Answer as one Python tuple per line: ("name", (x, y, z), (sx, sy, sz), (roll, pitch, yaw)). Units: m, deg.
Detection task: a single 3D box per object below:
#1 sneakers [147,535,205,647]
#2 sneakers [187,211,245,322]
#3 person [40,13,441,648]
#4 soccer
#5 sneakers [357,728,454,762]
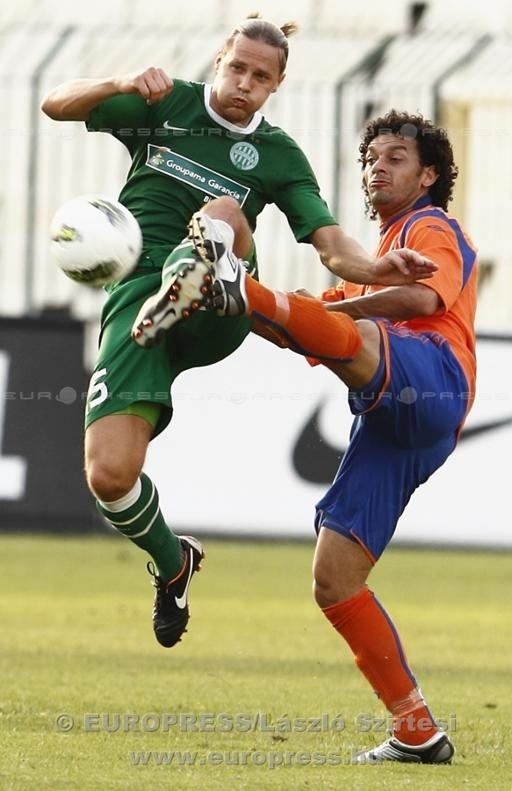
("sneakers", (-0.335, 0.620, 3.551), (0.156, 0.395, 0.238), (8, 2, 31))
("sneakers", (-0.099, -0.344, 2.797), (0.153, 0.299, 0.114), (-11, -3, -37))
("person", (-0.183, -0.150, 3.268), (0.964, 2.071, 0.616), (1, 10, -15))
("soccer", (-0.502, -0.472, 3.110), (0.335, 0.233, 0.259), (-6, 25, -25))
("sneakers", (0.417, 1.033, 3.080), (0.325, 0.107, 0.104), (2, -19, 6))
